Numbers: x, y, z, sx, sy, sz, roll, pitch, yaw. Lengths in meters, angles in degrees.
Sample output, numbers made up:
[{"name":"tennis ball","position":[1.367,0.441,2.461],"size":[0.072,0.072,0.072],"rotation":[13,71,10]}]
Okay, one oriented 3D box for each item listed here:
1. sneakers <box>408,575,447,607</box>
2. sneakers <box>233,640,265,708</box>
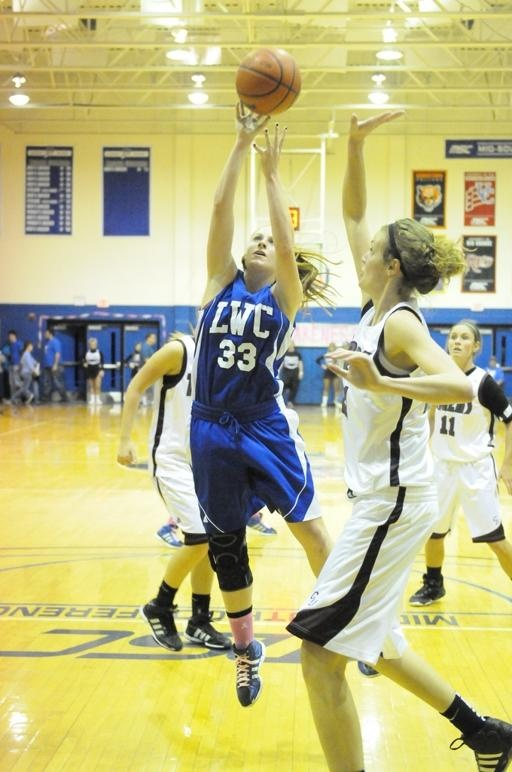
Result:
[{"name":"sneakers","position":[0.799,0.954,3.169],"size":[0.083,0.091,0.209],"rotation":[-5,-3,37]},{"name":"sneakers","position":[-0.022,0.866,2.110],"size":[0.066,0.096,0.218],"rotation":[-29,33,29]}]
